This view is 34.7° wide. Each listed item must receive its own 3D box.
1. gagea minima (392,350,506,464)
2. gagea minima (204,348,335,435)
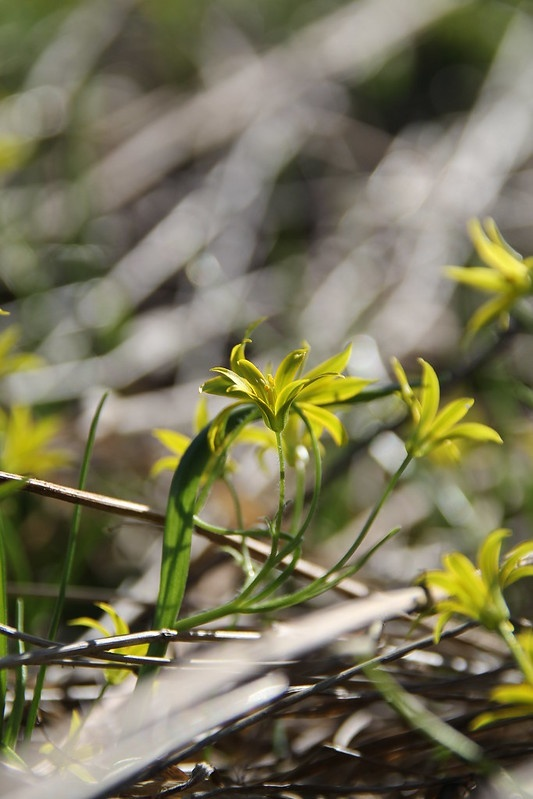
[{"bbox_3d":[0.252,0.015,1.144,0.129,0.060,0.141,30,18,-13],"label":"gagea minima"},{"bbox_3d":[0.004,-0.002,0.808,0.116,0.097,0.063,16,65,-25],"label":"gagea minima"}]
